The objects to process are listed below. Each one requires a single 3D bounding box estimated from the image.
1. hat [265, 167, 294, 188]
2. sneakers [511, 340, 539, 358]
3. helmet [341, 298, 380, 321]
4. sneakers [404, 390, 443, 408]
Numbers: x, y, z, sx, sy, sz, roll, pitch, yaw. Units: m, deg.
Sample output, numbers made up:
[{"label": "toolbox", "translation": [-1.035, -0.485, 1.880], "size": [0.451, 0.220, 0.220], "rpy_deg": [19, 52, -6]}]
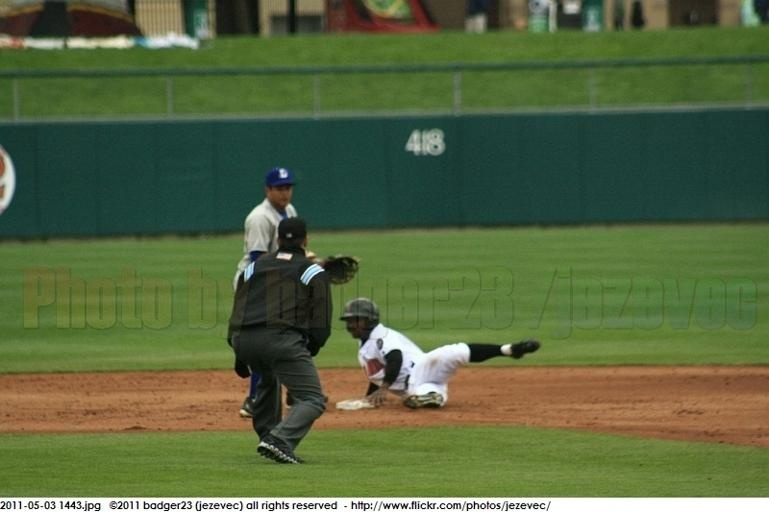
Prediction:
[{"label": "hat", "translation": [-1.815, -1.259, 33.709], "size": [0.371, 0.241, 0.475], "rpy_deg": [-3, 1, -31]}, {"label": "sneakers", "translation": [2.430, 1.583, 34.036], "size": [0.458, 0.165, 0.272], "rpy_deg": [-8, 2, 7]}, {"label": "helmet", "translation": [-0.384, 0.921, 34.159], "size": [0.536, 0.240, 0.366], "rpy_deg": [4, -7, -5]}, {"label": "sneakers", "translation": [0.725, 2.438, 34.354], "size": [0.538, 0.205, 0.298], "rpy_deg": [-2, 5, 0]}]
